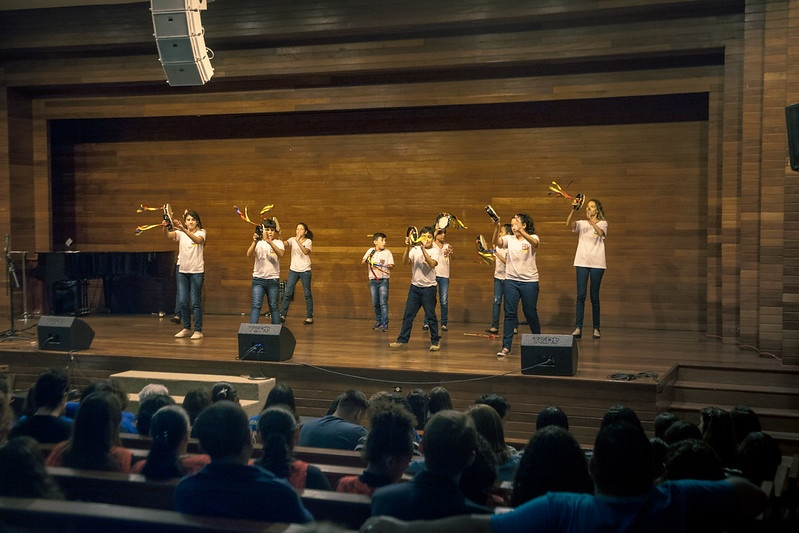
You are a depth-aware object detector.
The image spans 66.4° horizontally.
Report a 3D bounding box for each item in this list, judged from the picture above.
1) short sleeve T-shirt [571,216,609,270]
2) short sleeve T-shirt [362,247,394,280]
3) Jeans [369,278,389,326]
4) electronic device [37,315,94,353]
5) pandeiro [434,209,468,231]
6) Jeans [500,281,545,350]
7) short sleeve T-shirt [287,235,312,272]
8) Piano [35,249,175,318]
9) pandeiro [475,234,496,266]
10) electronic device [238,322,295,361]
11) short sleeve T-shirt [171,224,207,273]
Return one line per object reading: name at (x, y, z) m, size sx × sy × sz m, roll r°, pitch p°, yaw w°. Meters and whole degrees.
short sleeve T-shirt at (2.603, -0.308, 8.428) m, size 0.428 × 0.688 × 0.322 m, roll 1°, pitch -1°, yaw 20°
short sleeve T-shirt at (-0.348, -0.065, 10.034) m, size 0.671 × 0.544 × 0.367 m, roll 0°, pitch -4°, yaw 16°
Jeans at (-0.325, 0.597, 9.816) m, size 0.185 × 0.783 × 0.464 m, roll 2°, pitch -2°, yaw -27°
electronic device at (-4.288, 0.843, 7.863) m, size 0.557 × 0.329 × 0.516 m, roll 2°, pitch 5°, yaw 15°
pandeiro at (0.687, -0.674, 8.955) m, size 0.551 × 0.223 × 0.347 m, roll 7°, pitch 7°, yaw 13°
Jeans at (1.480, 0.607, 7.437) m, size 0.415 × 0.892 × 0.689 m, roll 1°, pitch -1°, yaw 10°
short sleeve T-shirt at (-1.693, -0.196, 10.067) m, size 0.387 × 0.560 × 0.437 m, roll 2°, pitch -1°, yaw -1°
Piano at (-5.109, 0.269, 10.845) m, size 1.516 × 0.872 × 1.827 m, roll -1°, pitch -4°, yaw 13°
pandeiro at (1.154, -0.218, 8.632) m, size 0.270 × 0.310 × 0.542 m, roll -6°, pitch -40°, yaw 21°
electronic device at (-1.603, 0.905, 7.449) m, size 0.741 × 0.437 × 0.450 m, roll 1°, pitch 6°, yaw 19°
short sleeve T-shirt at (-2.966, -0.214, 8.537) m, size 0.412 × 0.637 × 0.375 m, roll 2°, pitch -1°, yaw -7°
